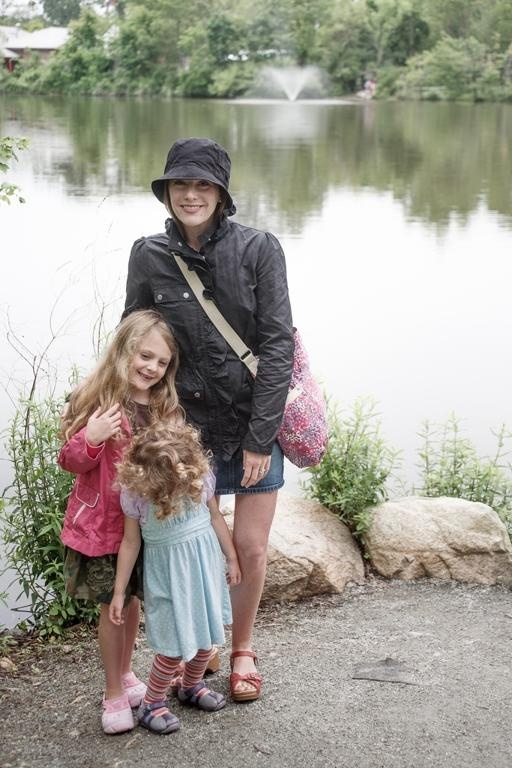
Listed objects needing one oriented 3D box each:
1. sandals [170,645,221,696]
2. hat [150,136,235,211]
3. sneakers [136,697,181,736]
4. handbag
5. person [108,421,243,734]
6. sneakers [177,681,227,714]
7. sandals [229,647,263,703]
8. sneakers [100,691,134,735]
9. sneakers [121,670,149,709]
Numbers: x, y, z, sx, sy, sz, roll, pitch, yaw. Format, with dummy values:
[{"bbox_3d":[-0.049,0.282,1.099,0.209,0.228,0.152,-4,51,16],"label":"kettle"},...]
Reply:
[{"bbox_3d":[-0.208,0.989,2.448,0.098,0.118,0.287,-2,-7,2],"label":"sandals"},{"bbox_3d":[-0.182,-0.665,2.160,0.233,0.145,0.290,9,8,27],"label":"hat"},{"bbox_3d":[-0.299,1.021,2.180,0.072,0.061,0.136,-3,0,-42],"label":"sneakers"},{"bbox_3d":[0.083,0.054,2.173,0.212,0.516,0.424,-8,-6,4],"label":"handbag"},{"bbox_3d":[-0.244,0.592,2.180,0.298,0.960,0.405,-1,4,14],"label":"person"},{"bbox_3d":[-0.174,1.026,2.305,0.141,0.061,0.072,3,22,28],"label":"sneakers"},{"bbox_3d":[-0.030,0.979,2.329,0.069,0.084,0.199,-1,-4,-5],"label":"sandals"},{"bbox_3d":[-0.430,1.021,2.185,0.070,0.055,0.140,-3,7,-9],"label":"sneakers"},{"bbox_3d":[-0.385,1.002,2.297,0.052,0.054,0.141,-4,-6,-16],"label":"sneakers"}]
